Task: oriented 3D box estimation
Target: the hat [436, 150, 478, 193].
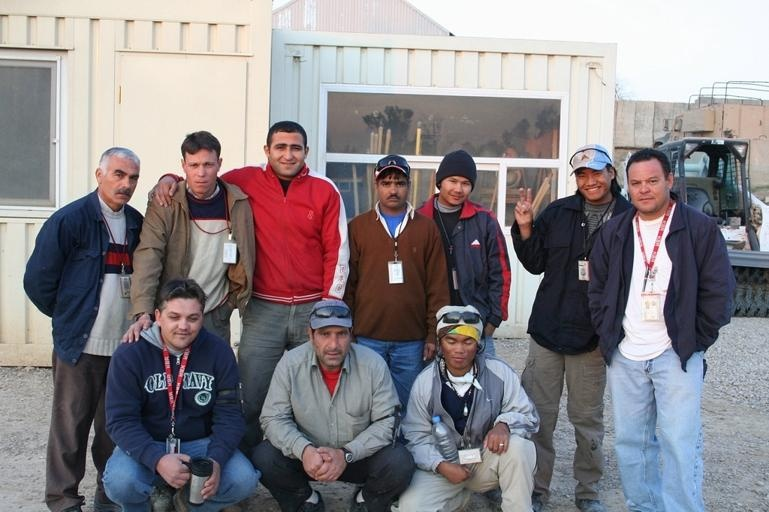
[{"bbox_3d":[0.675,-0.797,6.644,0.305,0.343,0.345,5,6,-5],"label":"hat"}]
